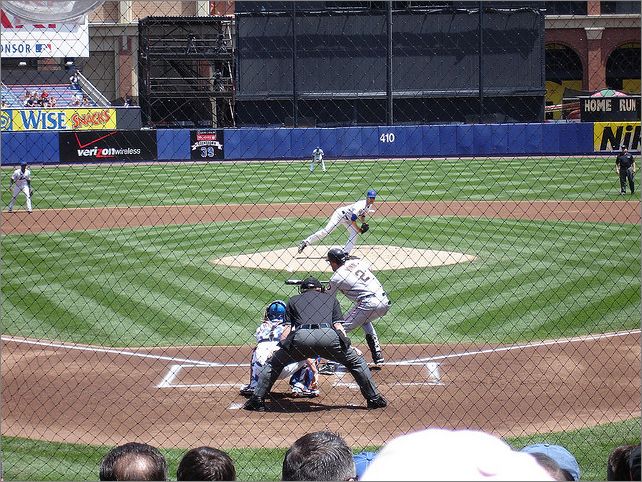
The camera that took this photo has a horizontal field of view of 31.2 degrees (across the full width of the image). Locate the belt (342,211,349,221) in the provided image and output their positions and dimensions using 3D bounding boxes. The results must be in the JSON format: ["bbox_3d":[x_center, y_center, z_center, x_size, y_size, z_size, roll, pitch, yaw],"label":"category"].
[{"bbox_3d":[0.642,-0.668,29.192,0.229,0.133,0.178,27,-32,-36],"label":"belt"}]

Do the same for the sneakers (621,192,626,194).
[{"bbox_3d":[9.675,-1.539,36.587,0.108,0.092,0.287,-11,-1,0],"label":"sneakers"}]

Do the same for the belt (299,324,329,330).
[{"bbox_3d":[-0.108,1.539,20.655,0.543,0.080,0.072,2,-1,-9],"label":"belt"}]

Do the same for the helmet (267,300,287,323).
[{"bbox_3d":[-0.802,1.299,21.415,0.275,0.373,0.376,4,0,3],"label":"helmet"}]

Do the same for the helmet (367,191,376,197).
[{"bbox_3d":[1.286,-1.192,28.980,0.191,0.159,0.246,2,-1,0],"label":"helmet"}]

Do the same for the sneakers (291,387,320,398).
[{"bbox_3d":[-0.285,2.820,21.287,0.549,0.297,0.207,-1,2,-5],"label":"sneakers"}]

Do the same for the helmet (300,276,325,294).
[{"bbox_3d":[-0.111,0.809,21.160,0.238,0.213,0.367,3,-7,30],"label":"helmet"}]

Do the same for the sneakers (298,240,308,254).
[{"bbox_3d":[-0.480,0.213,28.971,0.150,0.462,0.200,22,40,-5],"label":"sneakers"}]

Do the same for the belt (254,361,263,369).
[{"bbox_3d":[-1.125,2.272,20.901,0.142,0.060,0.125,-12,43,-12],"label":"belt"}]

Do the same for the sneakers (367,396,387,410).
[{"bbox_3d":[1.036,2.960,20.913,0.321,0.225,0.196,3,-7,-8],"label":"sneakers"}]
